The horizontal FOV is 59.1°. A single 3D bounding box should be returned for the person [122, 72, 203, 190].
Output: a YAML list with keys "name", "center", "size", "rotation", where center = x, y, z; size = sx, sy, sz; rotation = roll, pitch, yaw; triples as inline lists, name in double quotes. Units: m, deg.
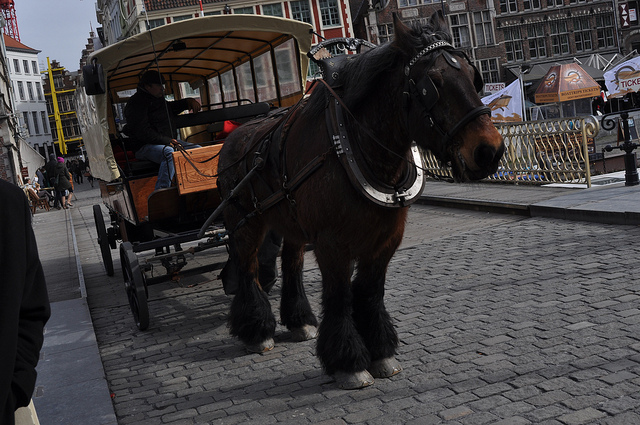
- name: "person"
  center: [-2.434, -1.284, 8.493]
  size: [0.916, 1.674, 2.208]
  rotation: [-9, 11, -18]

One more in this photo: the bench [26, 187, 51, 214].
- name: "bench"
  center: [-14.178, -0.695, 28.099]
  size: [1.094, 1.658, 0.944]
  rotation: [-4, 5, -11]

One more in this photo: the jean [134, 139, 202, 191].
- name: "jean"
  center: [-2.351, -0.699, 8.187]
  size: [0.447, 0.647, 0.888]
  rotation: [-11, 11, -22]

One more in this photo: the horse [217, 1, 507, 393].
- name: "horse"
  center: [0.232, -0.054, 5.605]
  size: [1.004, 3.413, 3.258]
  rotation: [-15, 13, -42]
